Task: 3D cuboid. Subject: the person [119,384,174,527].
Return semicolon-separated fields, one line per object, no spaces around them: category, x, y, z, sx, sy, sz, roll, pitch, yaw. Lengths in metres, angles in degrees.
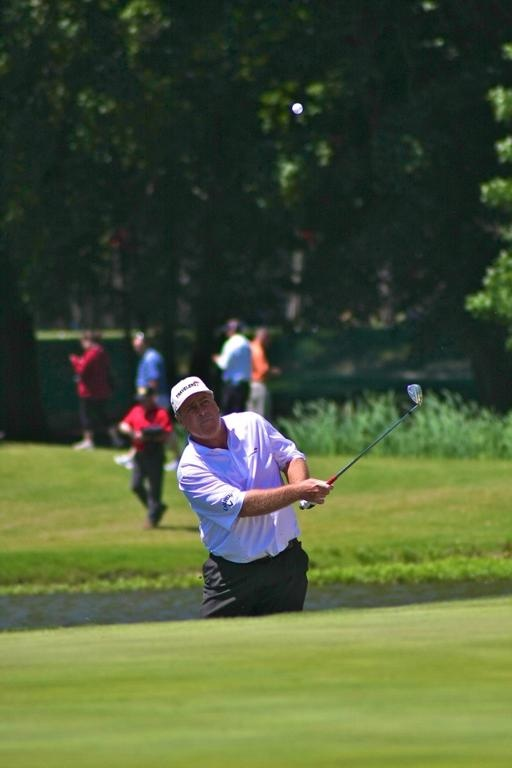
person;-0.693;0.490;9.777;0.275;0.878;0.430;-3;0;12

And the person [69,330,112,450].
person;-0.913;0.044;8.484;0.202;0.626;0.815;-2;-1;-6

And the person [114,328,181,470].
person;-0.733;0.045;10.801;0.359;0.763;0.314;-3;14;21

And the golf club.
golf club;0.735;0.441;10.292;0.237;0.213;1.209;-26;17;44

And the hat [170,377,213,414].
hat;-0.277;0.052;6.297;0.150;0.154;0.219;-2;-1;-15
